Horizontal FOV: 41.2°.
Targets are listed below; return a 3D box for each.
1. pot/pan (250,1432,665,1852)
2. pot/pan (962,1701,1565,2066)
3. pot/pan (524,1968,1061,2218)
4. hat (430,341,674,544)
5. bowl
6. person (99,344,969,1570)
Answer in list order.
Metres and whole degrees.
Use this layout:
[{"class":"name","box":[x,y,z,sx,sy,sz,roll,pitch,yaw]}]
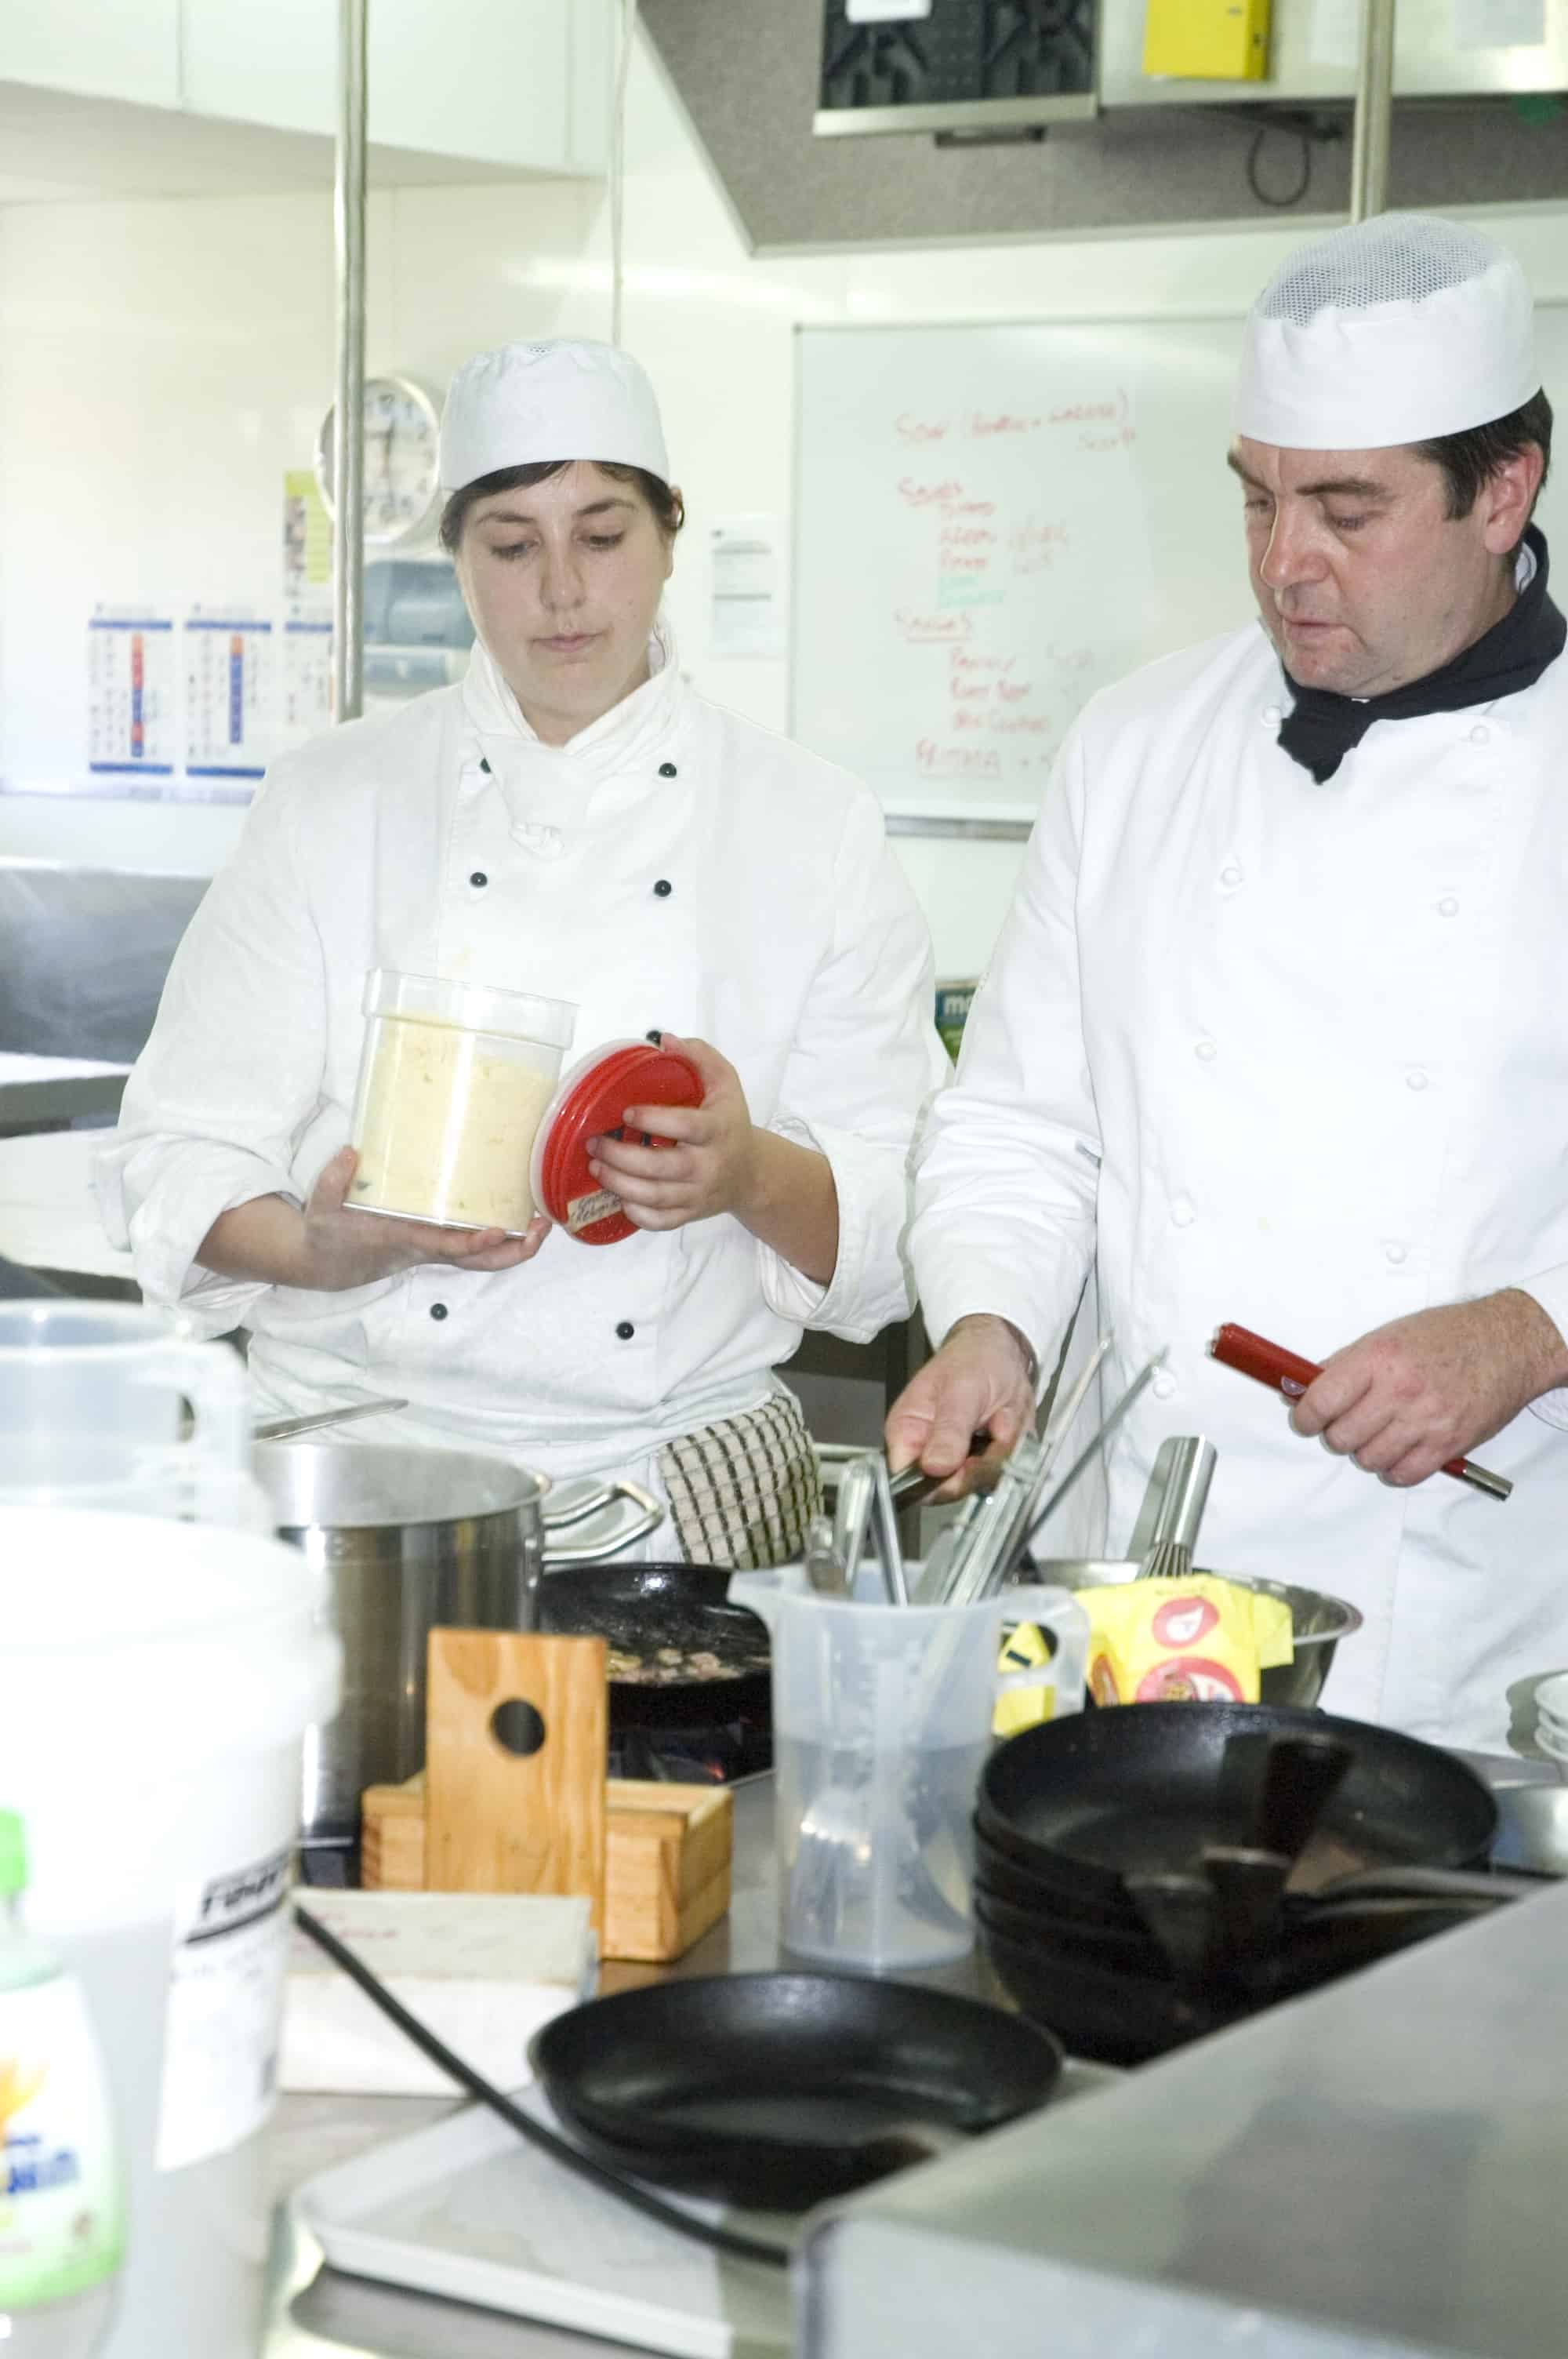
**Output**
[{"class":"pot/pan","box":[-0.175,0.194,1.098,0.249,0.209,0.216,6,4,-1]},{"class":"pot/pan","box":[0.161,0.225,0.772,0.144,0.075,0.226,-1,7,-4]},{"class":"pot/pan","box":[-0.003,0.300,0.695,0.147,0.038,0.141,8,5,41]},{"class":"hat","box":[-0.201,-0.611,1.781,0.164,0.108,0.158,-9,-16,-6]},{"class":"bowl","box":[0.198,0.227,1.094,0.195,0.038,0.120,7,5,31]},{"class":"person","box":[-0.251,-0.058,1.876,0.775,1.140,0.718,4,25,2]}]
